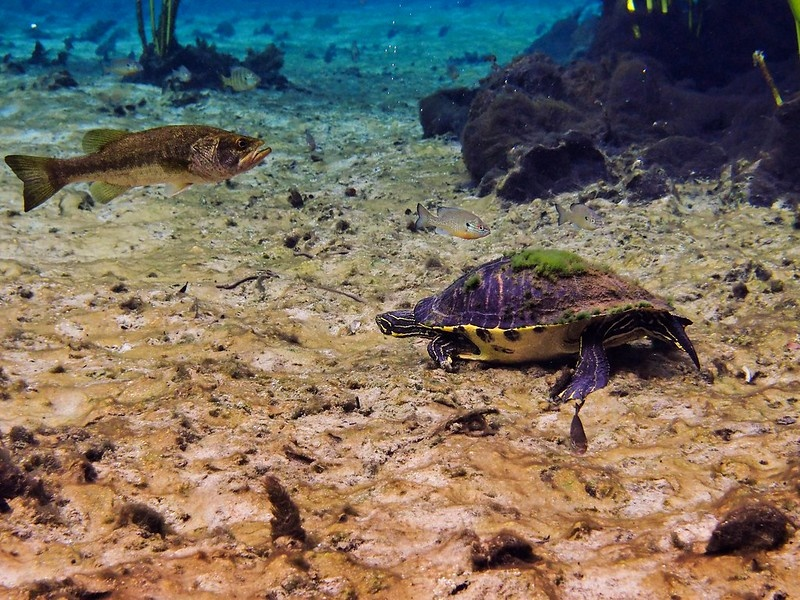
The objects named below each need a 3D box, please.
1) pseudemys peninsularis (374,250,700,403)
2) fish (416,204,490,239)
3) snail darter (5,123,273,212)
[{"bbox_3d":[2.392,0.187,12.306,4.643,2.040,4.286,-5,18,-23],"label":"pseudemys peninsularis"},{"bbox_3d":[0.904,-1.339,13.272,1.318,0.538,0.307,10,22,27],"label":"fish"},{"bbox_3d":[-3.595,-2.041,11.124,4.908,1.106,1.277,-4,18,-2],"label":"snail darter"}]
